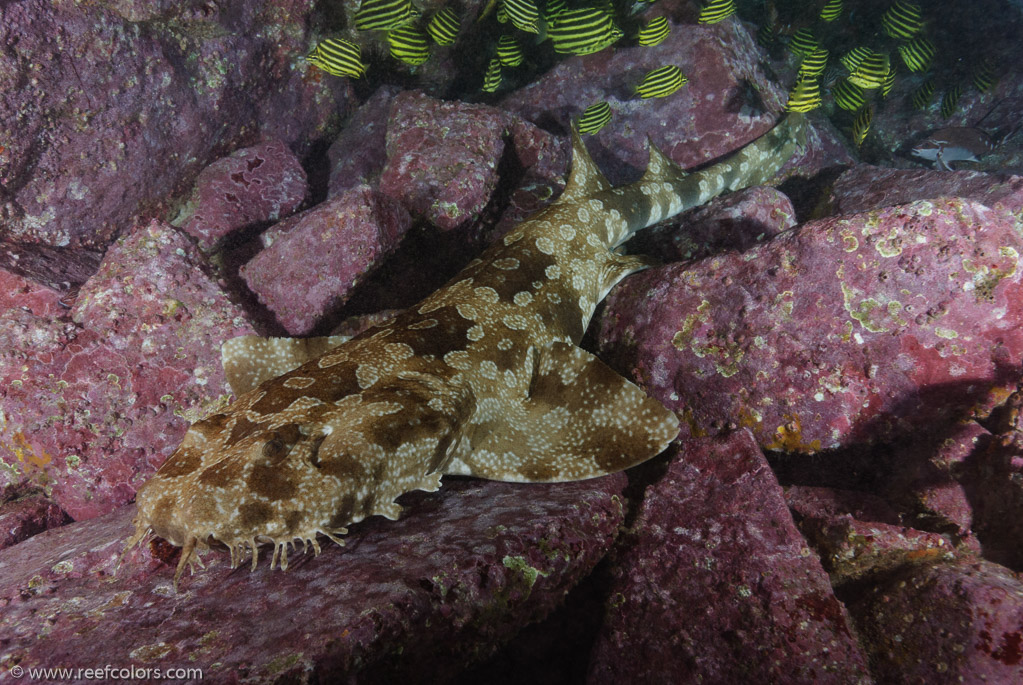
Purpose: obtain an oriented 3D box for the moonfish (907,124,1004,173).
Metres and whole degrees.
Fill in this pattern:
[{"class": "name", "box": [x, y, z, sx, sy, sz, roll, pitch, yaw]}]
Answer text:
[{"class": "moonfish", "box": [5.605, -2.422, 15.754, 1.261, 0.348, 0.465, -3, -67, 4]}]
